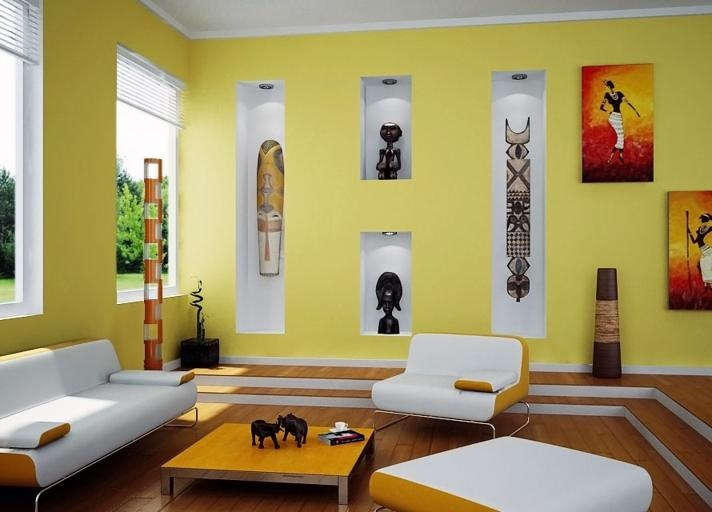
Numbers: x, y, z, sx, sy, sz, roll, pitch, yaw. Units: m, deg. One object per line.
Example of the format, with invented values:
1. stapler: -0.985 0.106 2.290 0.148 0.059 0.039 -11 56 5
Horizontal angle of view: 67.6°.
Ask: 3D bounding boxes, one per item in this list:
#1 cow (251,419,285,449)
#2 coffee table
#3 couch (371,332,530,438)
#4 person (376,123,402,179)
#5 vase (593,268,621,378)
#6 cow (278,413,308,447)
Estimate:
1. cow: -0.723 1.438 4.307 0.246 0.180 0.163 -3 -4 18
2. coffee table: -0.684 1.652 4.221 1.470 0.308 0.830 0 2 12
3. couch: 0.956 1.227 5.195 1.343 0.800 0.846 0 2 21
4. person: 0.437 -1.372 6.904 0.330 0.789 0.362 0 2 5
5. vase: 2.916 0.777 6.161 0.305 1.261 0.195 1 3 25
6. cow: -0.524 1.407 4.377 0.290 0.216 0.165 5 4 36
